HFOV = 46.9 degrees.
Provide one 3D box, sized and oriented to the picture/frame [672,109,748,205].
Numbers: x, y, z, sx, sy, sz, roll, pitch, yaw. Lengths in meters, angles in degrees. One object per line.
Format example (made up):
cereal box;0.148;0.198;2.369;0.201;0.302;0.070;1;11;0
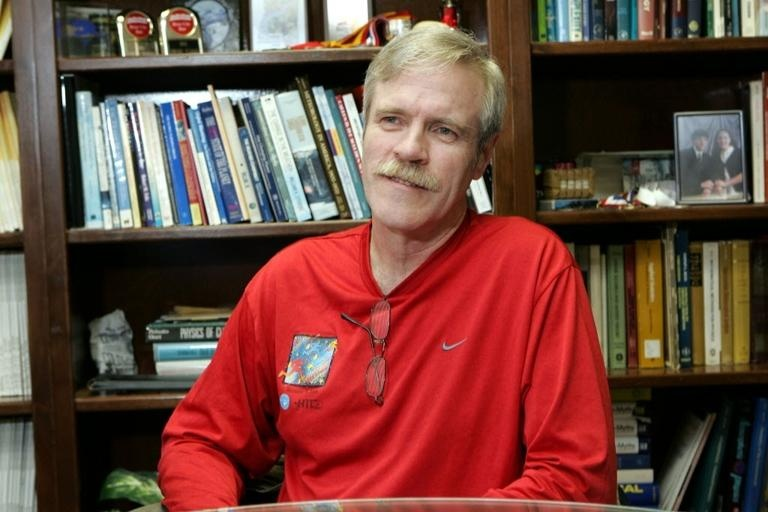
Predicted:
picture/frame;1.079;-0.313;2.915;0.297;0.404;0.052;-2;-6;9

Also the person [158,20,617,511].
person;0.006;0.038;2.394;1.172;1.293;0.522;-1;5;14
